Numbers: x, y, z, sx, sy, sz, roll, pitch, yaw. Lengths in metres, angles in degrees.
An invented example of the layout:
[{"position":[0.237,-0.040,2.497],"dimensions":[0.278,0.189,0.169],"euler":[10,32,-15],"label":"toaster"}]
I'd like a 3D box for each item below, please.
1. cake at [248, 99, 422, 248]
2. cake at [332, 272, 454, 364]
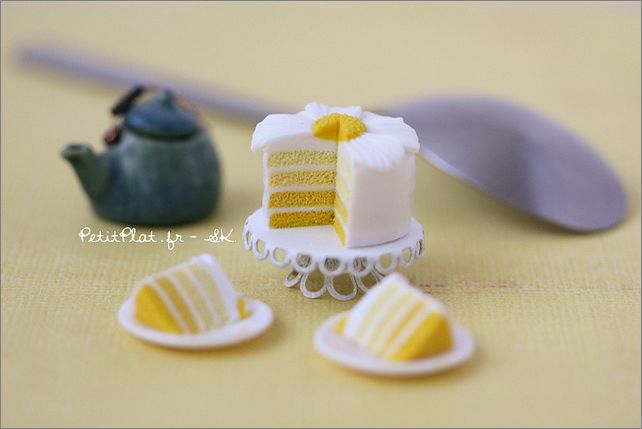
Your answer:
[{"position":[0.069,-0.212,3.628],"dimensions":[0.890,0.470,0.718],"euler":[13,50,7],"label":"cake"},{"position":[0.347,0.488,3.190],"dimensions":[0.358,0.149,0.405],"euler":[-4,29,-5],"label":"cake"}]
